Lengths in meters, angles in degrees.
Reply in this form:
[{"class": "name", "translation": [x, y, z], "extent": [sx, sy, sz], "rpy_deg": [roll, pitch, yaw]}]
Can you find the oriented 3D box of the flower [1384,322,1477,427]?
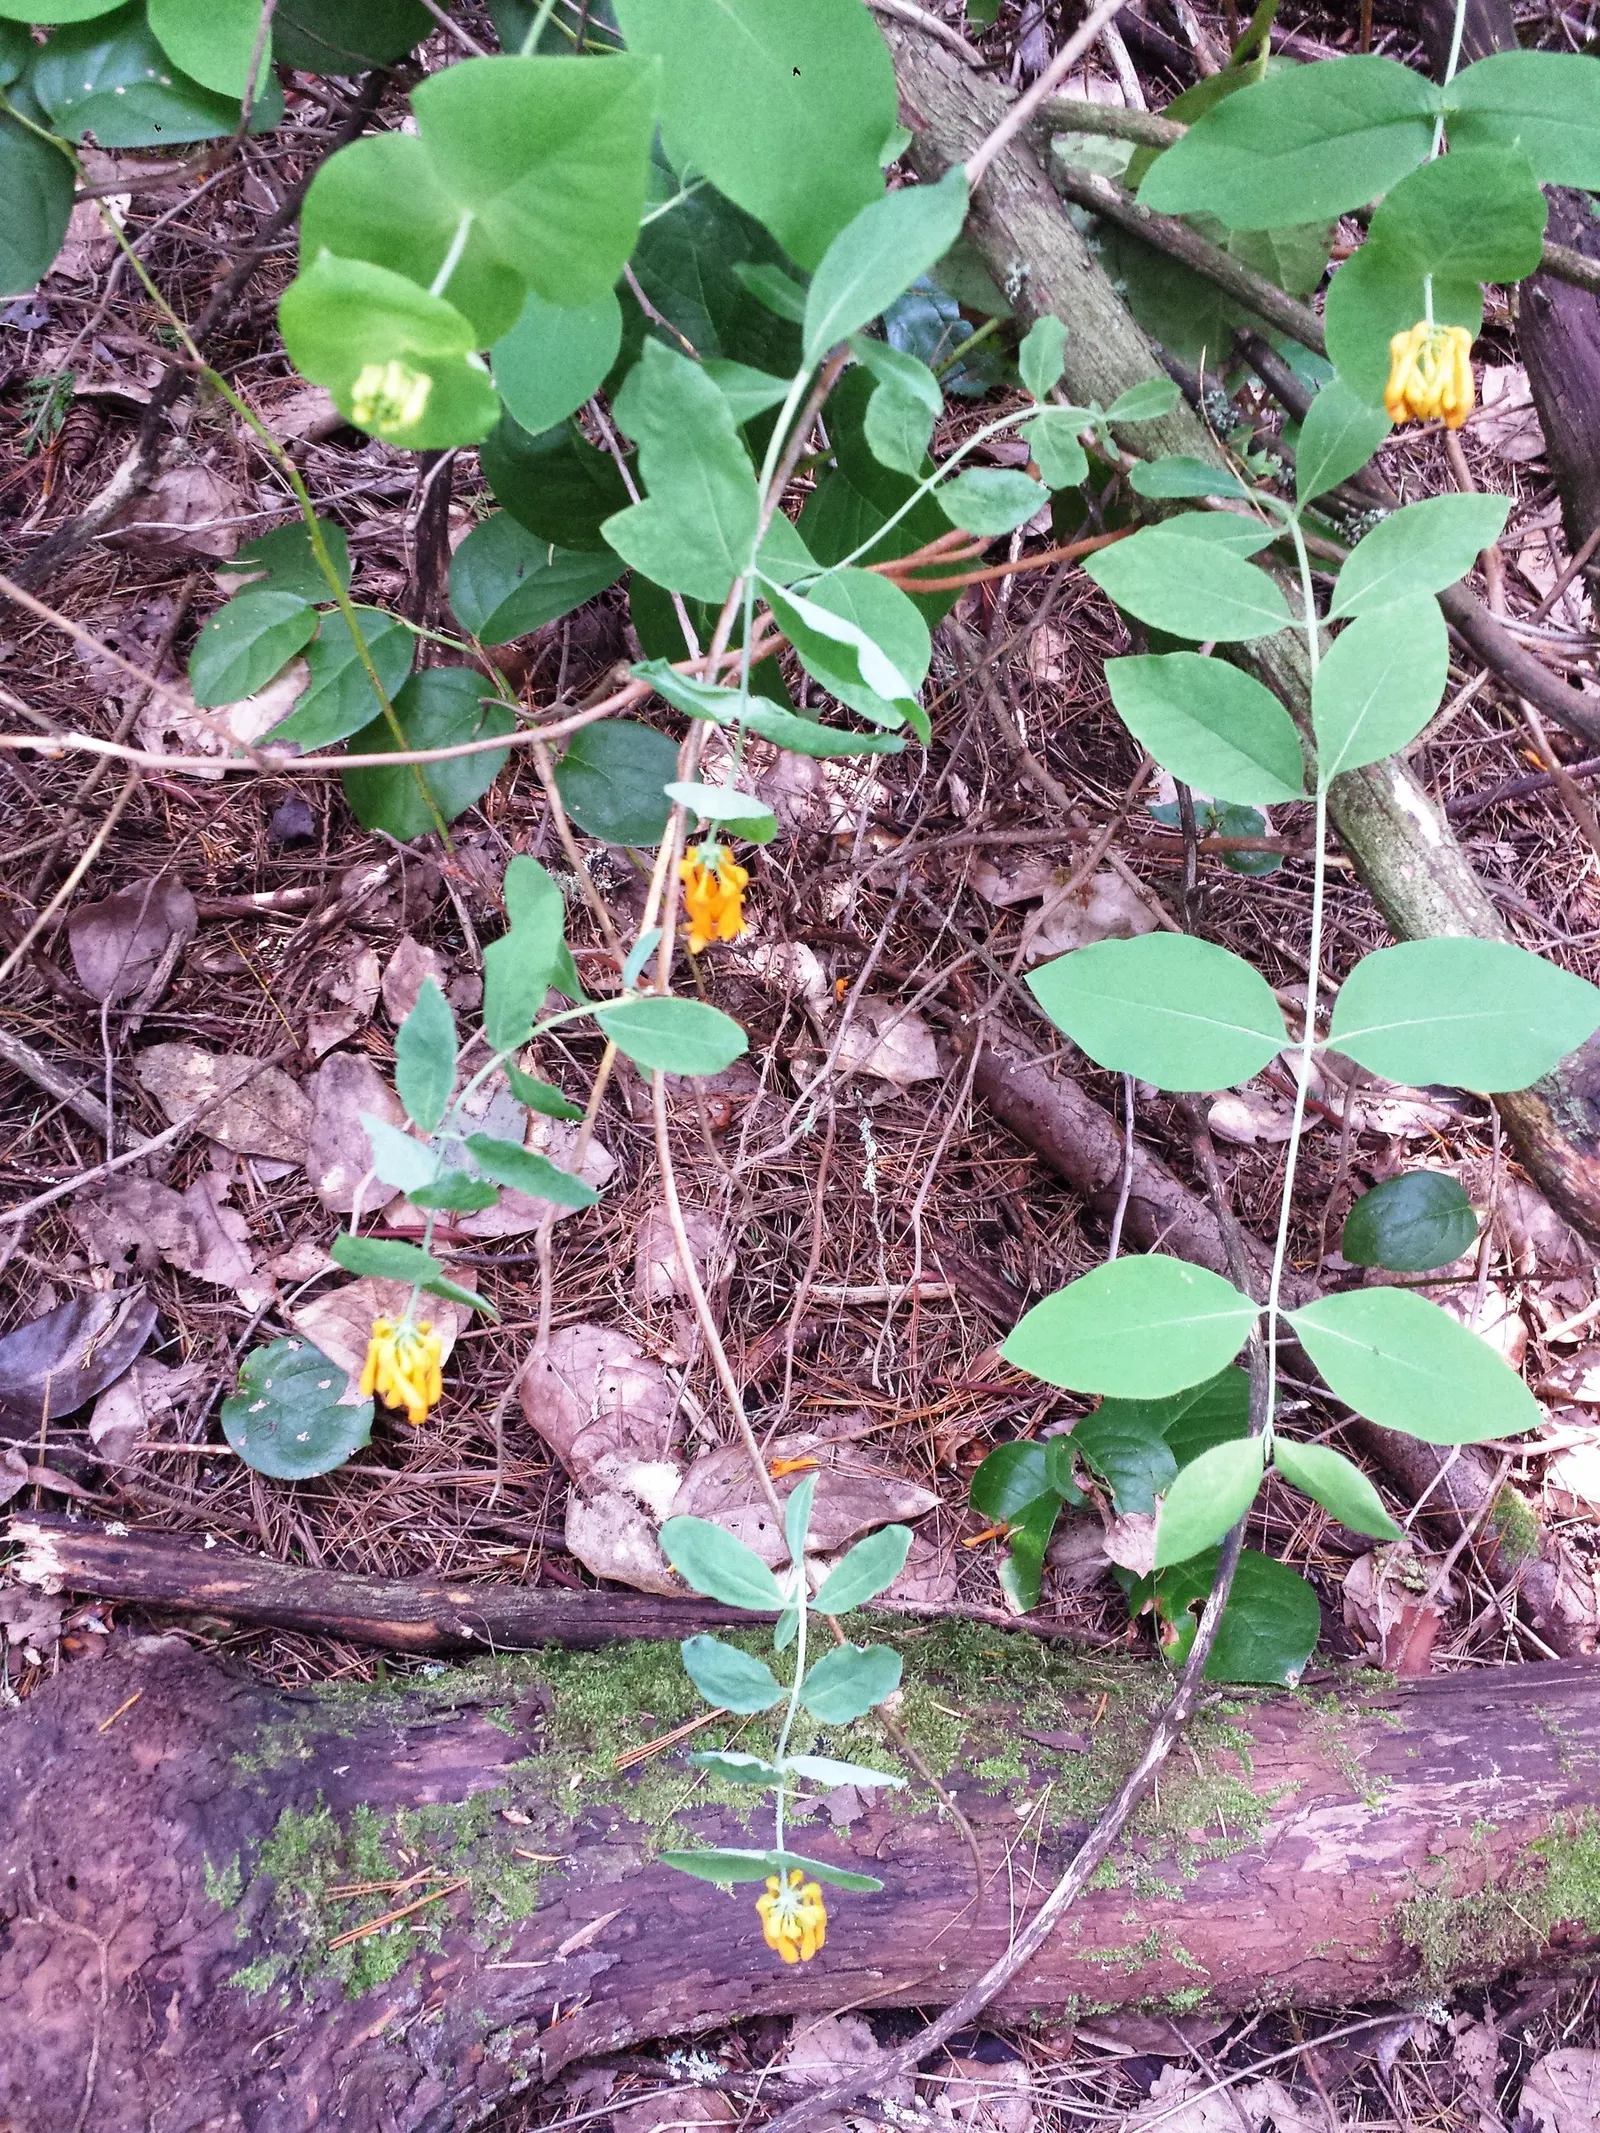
[{"class": "flower", "translation": [0.447, -0.488, 1.329], "extent": [0.073, 0.042, 0.081], "rpy_deg": [2, 82, 19]}]
